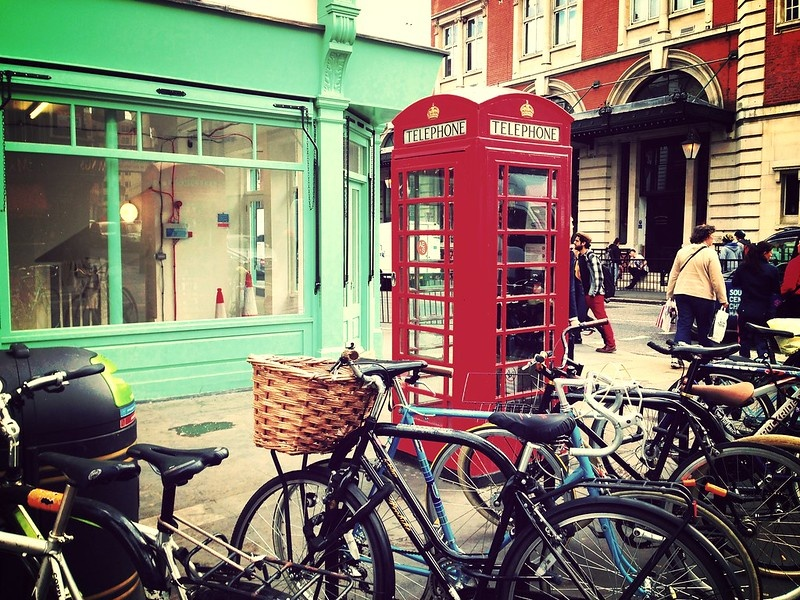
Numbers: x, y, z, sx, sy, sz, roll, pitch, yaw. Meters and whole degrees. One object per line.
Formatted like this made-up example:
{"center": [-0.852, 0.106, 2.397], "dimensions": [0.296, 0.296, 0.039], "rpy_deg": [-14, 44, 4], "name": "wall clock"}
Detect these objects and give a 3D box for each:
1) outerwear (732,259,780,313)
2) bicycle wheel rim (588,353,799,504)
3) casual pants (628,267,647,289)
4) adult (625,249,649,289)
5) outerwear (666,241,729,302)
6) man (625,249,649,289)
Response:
{"center": [5.015, -0.218, 10.913], "dimensions": [0.594, 0.802, 0.434], "rpy_deg": [1, 6, 35], "name": "outerwear"}
{"center": [2.004, 0.854, 5.381], "dimensions": [1.635, 1.030, 0.835], "rpy_deg": [2, -1, 29], "name": "bicycle wheel rim"}
{"center": [7.472, -0.666, 24.379], "dimensions": [0.193, 0.656, 0.586], "rpy_deg": [17, 1, -9], "name": "casual pants"}
{"center": [7.633, -0.987, 24.943], "dimensions": [0.815, 1.318, 0.635], "rpy_deg": [5, -36, 4], "name": "adult"}
{"center": [4.074, -0.373, 10.566], "dimensions": [0.372, 0.807, 1.028], "rpy_deg": [-3, 4, -33], "name": "outerwear"}
{"center": [7.633, -0.987, 24.943], "dimensions": [0.815, 1.318, 0.635], "rpy_deg": [5, -36, 4], "name": "man"}
